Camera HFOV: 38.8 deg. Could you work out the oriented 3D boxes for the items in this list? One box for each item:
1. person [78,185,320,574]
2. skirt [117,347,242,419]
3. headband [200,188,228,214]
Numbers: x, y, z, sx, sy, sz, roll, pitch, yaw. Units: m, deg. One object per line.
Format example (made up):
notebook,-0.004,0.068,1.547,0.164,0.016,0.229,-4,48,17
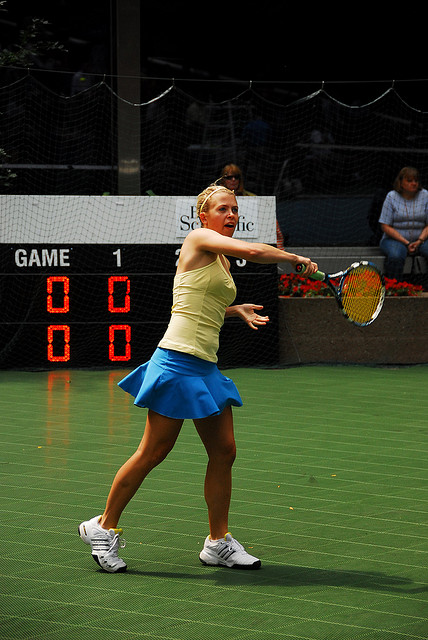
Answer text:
person,-0.083,0.249,2.744,0.919,1.397,0.692,3,1,6
skirt,-0.095,0.259,2.727,0.538,0.199,0.475,3,10,1
headband,-0.014,-0.546,2.776,0.115,0.090,0.061,3,1,14
